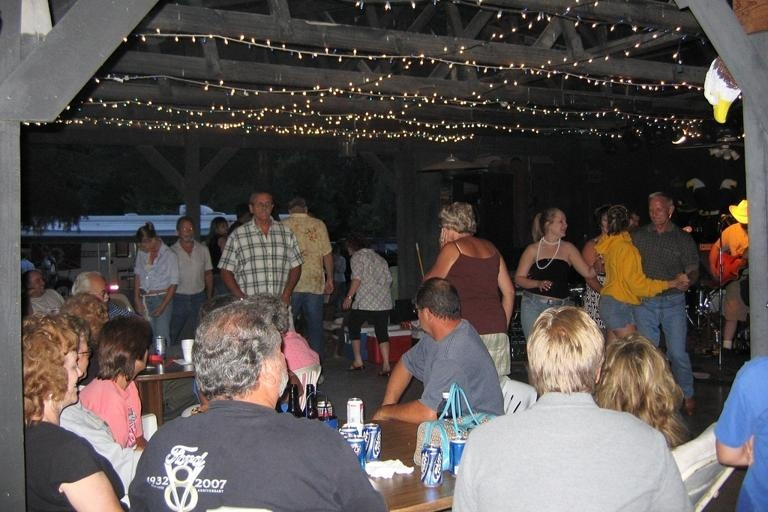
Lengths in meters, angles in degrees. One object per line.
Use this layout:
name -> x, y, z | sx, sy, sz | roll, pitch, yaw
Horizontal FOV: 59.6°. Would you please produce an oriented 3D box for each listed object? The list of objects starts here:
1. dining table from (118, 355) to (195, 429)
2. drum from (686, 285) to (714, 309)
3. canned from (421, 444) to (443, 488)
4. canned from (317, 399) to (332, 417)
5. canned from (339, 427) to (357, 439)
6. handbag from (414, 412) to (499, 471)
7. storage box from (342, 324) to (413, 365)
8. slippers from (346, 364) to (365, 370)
dining table -> -1.798, 1.021, 5.292 | 0.511, 0.505, 0.509 | 1, -1, -30
drum -> 4.657, 0.616, 9.851 | 0.378, 0.252, 0.743 | -24, -22, 22
canned -> 0.242, 1.057, 3.389 | 0.107, 0.200, 0.092 | -2, -6, 0
canned -> -0.356, 0.915, 3.992 | 0.098, 0.104, 0.075 | -7, 6, 1
canned -> -0.184, 0.928, 3.481 | 0.071, 0.055, 0.113 | 0, -16, 0
handbag -> 0.358, 0.923, 3.295 | 0.354, 0.307, 0.137 | 5, -6, -35
storage box -> -0.011, 1.172, 9.026 | 0.540, 0.376, 0.726 | 1, 0, -25
slippers -> -0.354, 1.426, 8.574 | 0.184, 0.056, 0.070 | 4, -2, 2
